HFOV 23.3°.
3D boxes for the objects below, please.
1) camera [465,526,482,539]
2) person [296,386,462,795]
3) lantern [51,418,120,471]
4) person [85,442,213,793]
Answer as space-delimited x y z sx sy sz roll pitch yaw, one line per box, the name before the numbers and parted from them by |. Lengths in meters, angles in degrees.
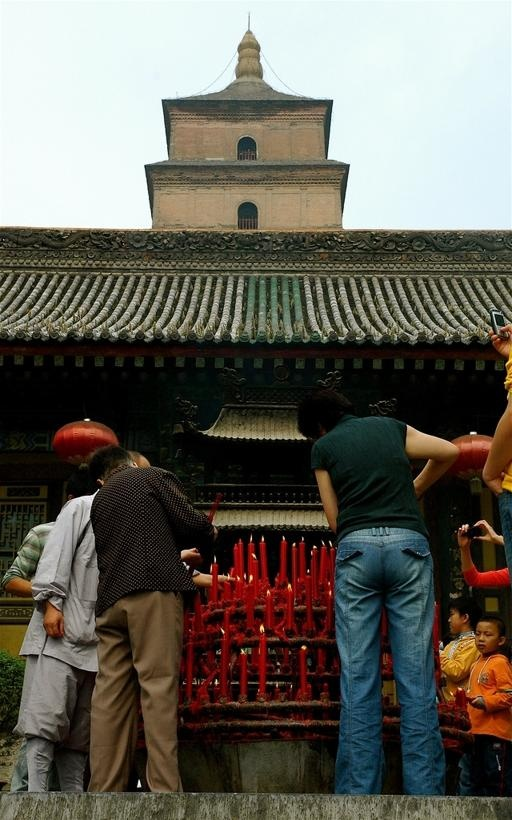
camera | 0.965 0.513 5.499 0.062 0.030 0.083 -6 -19 0
person | 0.439 0.581 4.404 0.578 1.531 0.319 1 -27 1
lantern | -1.270 0.183 9.475 0.536 0.471 0.550 -2 -21 0
person | -0.363 0.758 4.459 0.387 1.195 0.388 -14 -23 26
